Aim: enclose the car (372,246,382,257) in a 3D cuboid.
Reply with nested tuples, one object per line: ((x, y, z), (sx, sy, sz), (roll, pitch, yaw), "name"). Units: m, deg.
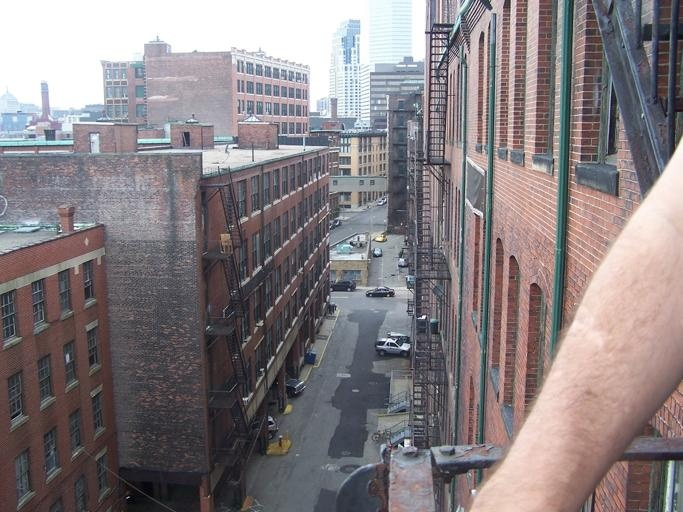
((4.239, -0.471, 100.576), (1.083, 0.931, 2.560), (-3, -2, 3), "car")

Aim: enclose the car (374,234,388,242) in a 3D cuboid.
((5.147, -2.270, 110.205), (1.416, 0.947, 3.178), (1, 12, 12), "car")

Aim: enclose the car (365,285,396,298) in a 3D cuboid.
((3.675, 3.479, 78.109), (2.336, 0.861, 1.155), (3, 0, 2), "car")

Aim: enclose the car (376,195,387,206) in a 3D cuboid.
((7.878, -10.597, 161.248), (1.031, 1.099, 3.866), (0, 12, 13), "car")

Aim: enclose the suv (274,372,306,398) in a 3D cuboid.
((-2.982, 7.835, 50.151), (1.752, 0.839, 1.090), (13, 14, 33), "suv")

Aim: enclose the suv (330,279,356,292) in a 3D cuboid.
((0.194, 2.974, 81.176), (1.829, 0.906, 1.121), (5, 2, 3), "suv")

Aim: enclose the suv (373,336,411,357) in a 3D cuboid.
((3.618, 6.389, 58.089), (1.969, 0.958, 1.166), (-3, 18, 7), "suv")
